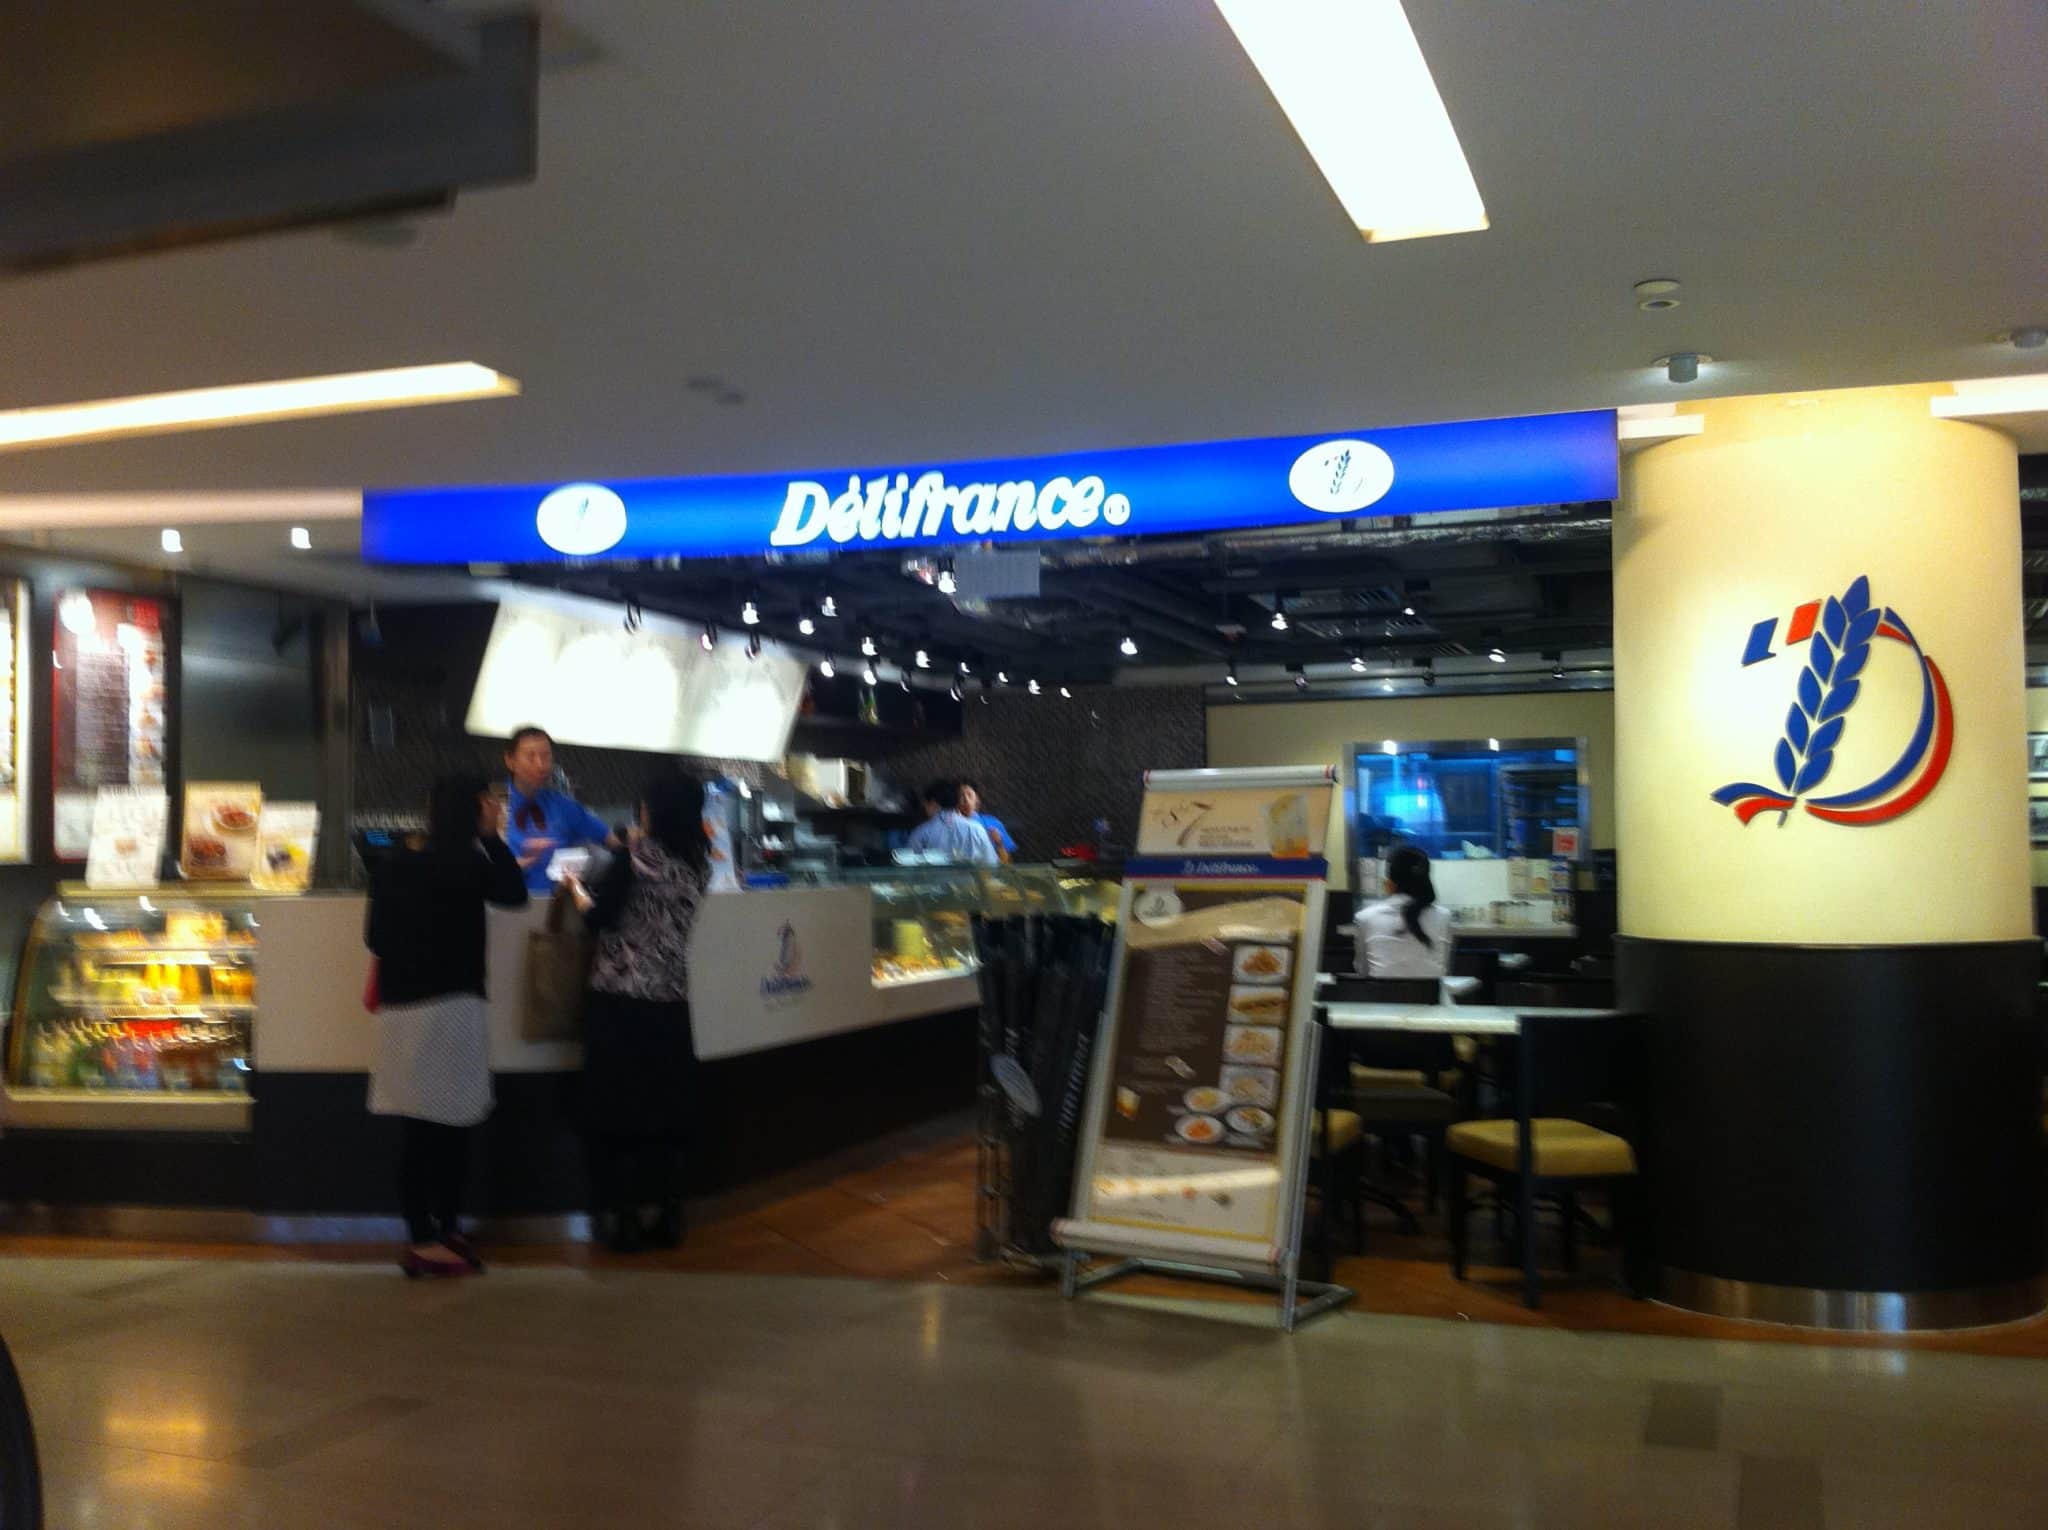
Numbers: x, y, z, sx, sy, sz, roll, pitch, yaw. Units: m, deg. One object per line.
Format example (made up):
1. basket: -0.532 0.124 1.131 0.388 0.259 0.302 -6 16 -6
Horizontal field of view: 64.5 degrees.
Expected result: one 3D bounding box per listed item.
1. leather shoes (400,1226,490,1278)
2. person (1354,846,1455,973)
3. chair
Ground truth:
1. leather shoes: -2.219 1.856 6.203 0.257 0.106 0.145 -5 1 0
2. person: 1.783 0.768 7.590 0.452 0.726 0.573 2 -11 9
3. chair: 1.813 1.328 6.419 1.008 1.329 1.426 2 -7 -8
